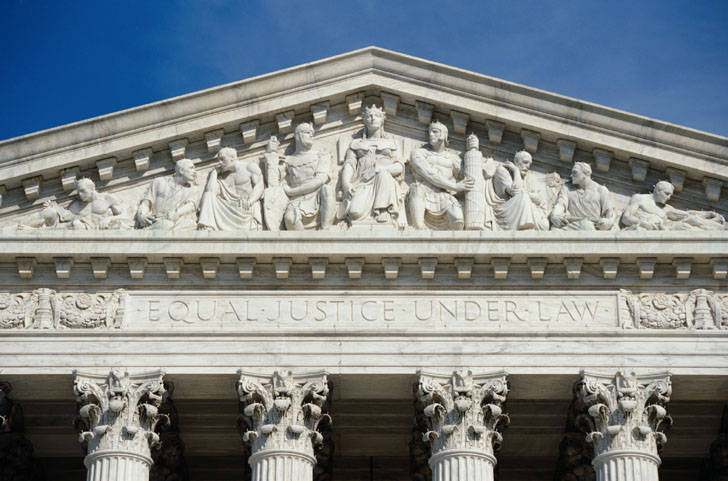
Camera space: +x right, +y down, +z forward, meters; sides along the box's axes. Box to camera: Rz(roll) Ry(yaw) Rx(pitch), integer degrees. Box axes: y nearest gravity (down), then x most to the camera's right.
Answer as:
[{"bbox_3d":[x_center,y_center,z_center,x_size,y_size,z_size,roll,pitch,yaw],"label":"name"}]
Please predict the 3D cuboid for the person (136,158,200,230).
[{"bbox_3d":[-5.144,-1.228,57.574,1.499,1.094,1.969,6,-95,-5],"label":"person"}]

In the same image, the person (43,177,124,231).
[{"bbox_3d":[-7.385,-0.926,57.483,2.140,1.325,0.686,-2,-52,2],"label":"person"}]

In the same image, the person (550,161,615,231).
[{"bbox_3d":[5.779,-1.080,57.386,1.428,1.918,1.112,-3,-45,14],"label":"person"}]

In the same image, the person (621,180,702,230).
[{"bbox_3d":[7.608,-0.789,57.208,1.803,1.323,0.769,-8,-52,7],"label":"person"}]
